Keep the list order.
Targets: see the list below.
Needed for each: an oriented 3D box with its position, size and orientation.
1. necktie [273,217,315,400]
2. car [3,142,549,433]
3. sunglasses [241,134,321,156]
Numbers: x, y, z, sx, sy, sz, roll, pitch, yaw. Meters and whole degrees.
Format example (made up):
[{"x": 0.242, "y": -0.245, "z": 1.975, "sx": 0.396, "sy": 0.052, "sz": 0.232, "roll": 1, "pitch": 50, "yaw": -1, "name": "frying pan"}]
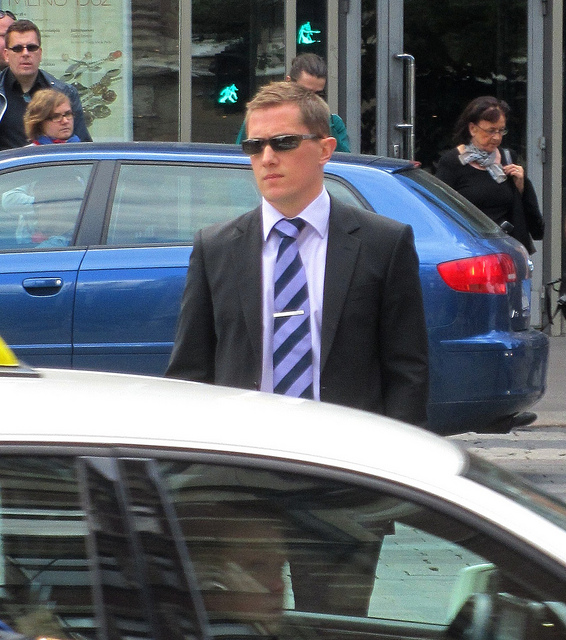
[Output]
[{"x": 0.016, "y": -0.021, "z": 2.574, "sx": 0.118, "sy": 0.427, "sz": 0.037, "roll": -6, "pitch": 8, "yaw": -34, "name": "necktie"}, {"x": -0.175, "y": -0.192, "z": 4.932, "sx": 2.679, "sy": 0.669, "sz": 1.007, "roll": 1, "pitch": 3, "yaw": 3, "name": "car"}, {"x": -0.014, "y": -0.407, "z": 2.658, "sx": 0.144, "sy": 0.067, "sz": 0.067, "roll": 12, "pitch": 7, "yaw": 11, "name": "sunglasses"}]
